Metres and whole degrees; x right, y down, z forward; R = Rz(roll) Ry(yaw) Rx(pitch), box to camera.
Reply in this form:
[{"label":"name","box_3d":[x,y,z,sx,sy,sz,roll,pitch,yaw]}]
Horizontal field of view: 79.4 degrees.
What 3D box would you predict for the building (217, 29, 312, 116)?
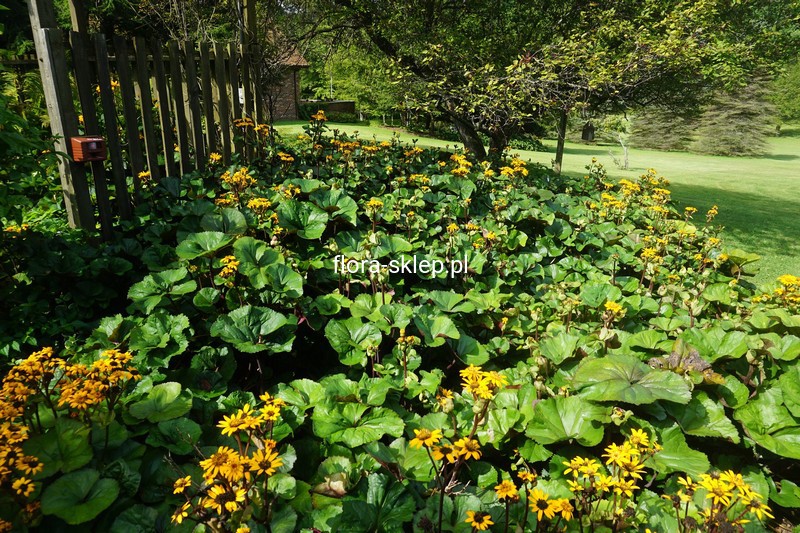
[{"label":"building","box_3d":[-3.340,-4.842,12.062,1.565,1.875,1.774,25,29,15]}]
